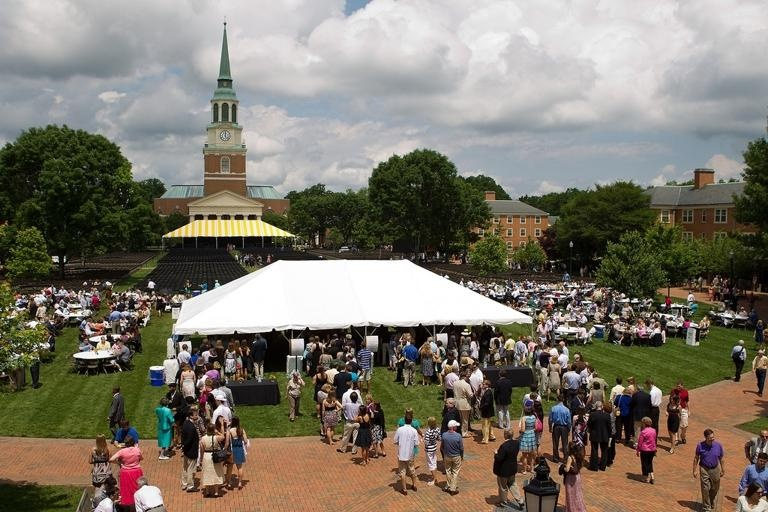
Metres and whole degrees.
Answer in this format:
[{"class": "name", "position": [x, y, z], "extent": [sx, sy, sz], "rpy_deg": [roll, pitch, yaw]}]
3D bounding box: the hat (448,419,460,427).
[{"class": "hat", "position": [2.367, 5.707, 23.696], "extent": [0.371, 0.324, 0.386], "rpy_deg": [1, 14, 1]}]

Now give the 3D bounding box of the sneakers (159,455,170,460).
[{"class": "sneakers", "position": [-8.051, 7.336, 25.439], "extent": [0.248, 0.093, 0.166], "rpy_deg": [5, -5, -18]}]

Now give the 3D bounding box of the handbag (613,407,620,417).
[{"class": "handbag", "position": [8.859, 5.925, 26.501], "extent": [0.133, 0.238, 0.372], "rpy_deg": [-2, 6, -6]}]

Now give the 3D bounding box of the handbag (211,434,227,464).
[{"class": "handbag", "position": [-5.511, 6.474, 23.343], "extent": [0.524, 0.935, 0.293], "rpy_deg": [-7, 16, -30]}]

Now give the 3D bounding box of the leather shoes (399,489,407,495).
[{"class": "leather shoes", "position": [0.665, 7.954, 23.606], "extent": [0.216, 0.155, 0.225], "rpy_deg": [2, 14, 4]}]

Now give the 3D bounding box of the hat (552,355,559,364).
[{"class": "hat", "position": [7.297, 4.378, 29.657], "extent": [0.235, 0.320, 0.314], "rpy_deg": [6, 15, 8]}]
